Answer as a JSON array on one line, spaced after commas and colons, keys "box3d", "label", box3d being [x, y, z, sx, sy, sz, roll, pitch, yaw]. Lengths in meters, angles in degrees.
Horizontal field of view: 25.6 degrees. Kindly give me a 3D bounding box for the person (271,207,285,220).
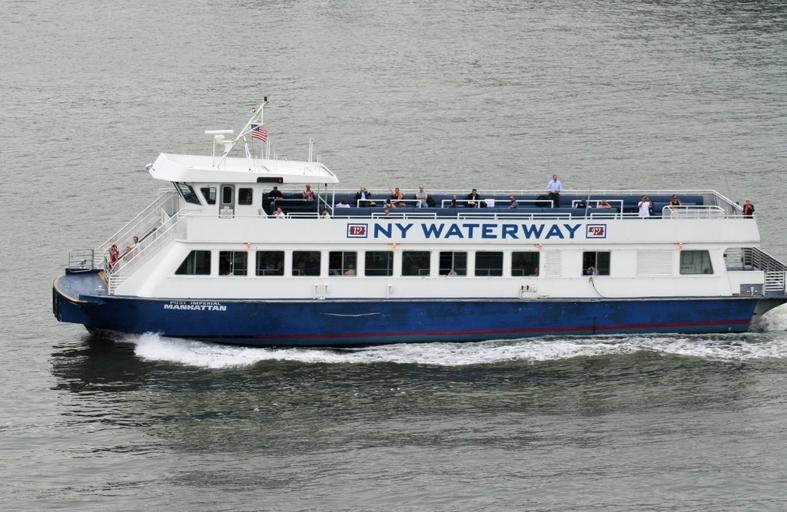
[{"box3d": [-6.671, -2.483, 100.545, 0.745, 0.242, 0.790, -1, 17, -7], "label": "person"}]
